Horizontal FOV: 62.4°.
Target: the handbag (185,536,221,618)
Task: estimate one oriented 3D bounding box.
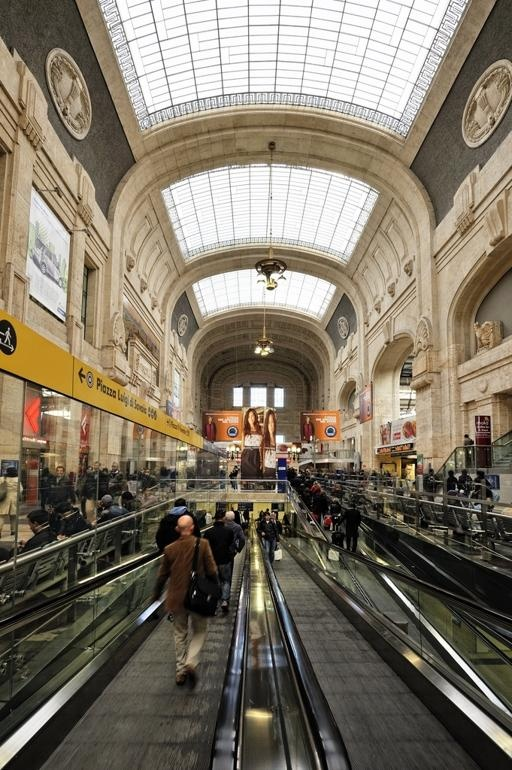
[{"bbox_3d":[-0.398,1.479,3.229,0.254,0.528,0.170,0,-9,1],"label":"handbag"}]

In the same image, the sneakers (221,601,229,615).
[{"bbox_3d":[-0.375,2.755,5.168,0.045,0.171,0.070,-1,29,3],"label":"sneakers"}]
